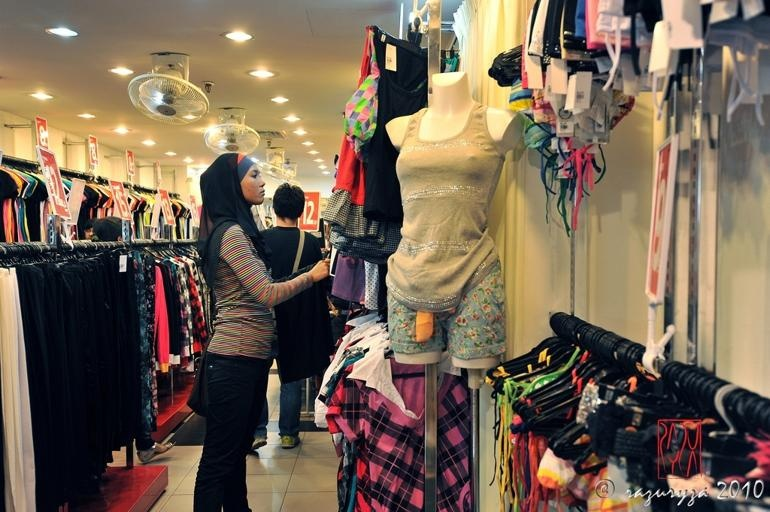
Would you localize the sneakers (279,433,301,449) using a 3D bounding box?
[{"bbox_3d":[-0.668,1.311,5.078,0.062,0.072,0.172,0,-3,6],"label":"sneakers"}]

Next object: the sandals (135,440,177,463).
[{"bbox_3d":[-1.541,1.319,4.881,0.079,0.090,0.234,0,8,24],"label":"sandals"}]

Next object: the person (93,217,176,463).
[{"bbox_3d":[-1.666,0.548,4.652,0.436,1.545,0.672,-2,0,-12],"label":"person"}]

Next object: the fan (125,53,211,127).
[{"bbox_3d":[-1.838,-1.458,6.134,0.492,0.413,0.497,-17,-26,37],"label":"fan"}]
